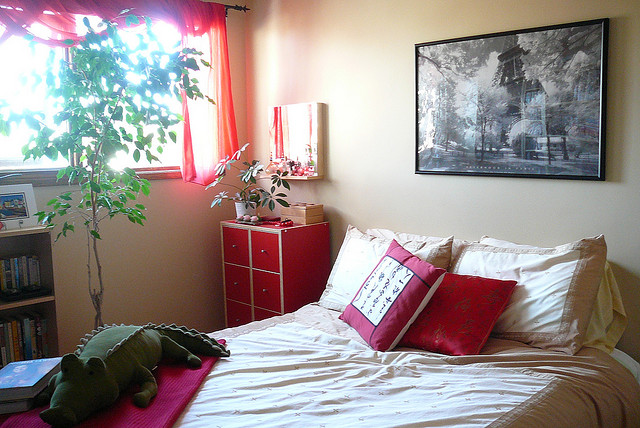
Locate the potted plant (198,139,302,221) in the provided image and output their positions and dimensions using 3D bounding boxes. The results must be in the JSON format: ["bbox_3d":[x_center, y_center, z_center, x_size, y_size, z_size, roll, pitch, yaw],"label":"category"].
[{"bbox_3d":[-0.631,-0.294,3.770,0.740,0.493,0.884,0,14,12],"label":"potted plant"}]

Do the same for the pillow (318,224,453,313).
[{"bbox_3d":[0.465,0.360,2.748,0.223,0.427,0.607,19,-10,-36],"label":"pillow"}]

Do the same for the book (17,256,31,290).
[{"bbox_3d":[-2.109,0.405,2.906,0.111,0.181,0.188,-1,-2,-41],"label":"book"}]

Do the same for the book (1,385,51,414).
[{"bbox_3d":[-1.326,0.844,1.825,0.131,0.030,0.129,0,-4,-8],"label":"book"}]

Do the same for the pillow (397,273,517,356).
[{"bbox_3d":[0.796,0.555,2.349,0.468,0.156,0.506,-51,26,-17],"label":"pillow"}]

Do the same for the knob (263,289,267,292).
[{"bbox_3d":[-0.464,0.634,3.435,0.035,0.008,0.024,-1,1,2],"label":"knob"}]

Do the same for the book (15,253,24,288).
[{"bbox_3d":[-2.065,0.398,2.825,0.028,0.201,0.069,-5,14,-13],"label":"book"}]

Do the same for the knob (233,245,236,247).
[{"bbox_3d":[-0.754,0.278,3.602,0.019,0.034,0.018,2,-2,-38],"label":"knob"}]

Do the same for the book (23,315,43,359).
[{"bbox_3d":[-1.981,0.845,2.817,0.151,0.241,0.255,-4,9,-32],"label":"book"}]

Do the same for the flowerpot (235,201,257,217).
[{"bbox_3d":[-0.683,-0.048,3.724,0.144,0.116,0.154,-1,2,-27],"label":"flowerpot"}]

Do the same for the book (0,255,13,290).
[{"bbox_3d":[-2.122,0.403,2.771,0.099,0.175,0.187,0,7,-34],"label":"book"}]
